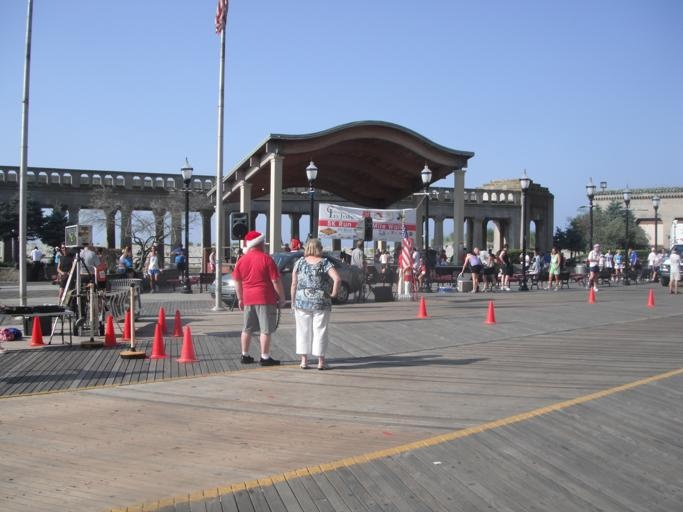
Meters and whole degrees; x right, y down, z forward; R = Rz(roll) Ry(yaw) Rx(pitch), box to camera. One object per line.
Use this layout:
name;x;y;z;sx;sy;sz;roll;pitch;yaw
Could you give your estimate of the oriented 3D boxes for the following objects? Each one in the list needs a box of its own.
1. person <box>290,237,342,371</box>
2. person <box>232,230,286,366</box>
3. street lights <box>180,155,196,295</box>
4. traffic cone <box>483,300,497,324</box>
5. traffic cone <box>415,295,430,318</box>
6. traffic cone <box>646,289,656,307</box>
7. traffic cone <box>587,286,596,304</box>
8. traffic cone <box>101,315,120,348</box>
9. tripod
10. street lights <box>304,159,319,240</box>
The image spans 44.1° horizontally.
person;-0.434;0.736;13.253;0.760;1.981;0.591;0;5;8
person;-1.350;0.686;13.533;0.763;2.132;0.545;-1;-1;23
street lights;-5.747;-0.945;31.315;0.710;4.961;0.817;2;-5;-23
traffic cone;3.609;1.363;20.472;0.429;0.696;0.458;0;-2;1
traffic cone;1.959;1.193;20.084;0.453;0.566;0.480;0;-1;-1
traffic cone;9.555;1.293;25.998;0.366;0.553;0.398;0;-4;1
traffic cone;8.052;1.264;27.059;0.357;0.541;0.410;-1;-3;2
traffic cone;-4.230;1.344;15.420;0.228;0.539;0.448;-2;5;-16
tripod;-5.168;0.689;17.045;0.904;2.715;0.919;0;0;-21
street lights;-0.992;-1.878;29.276;0.541;2.675;0.521;2;-2;-29
